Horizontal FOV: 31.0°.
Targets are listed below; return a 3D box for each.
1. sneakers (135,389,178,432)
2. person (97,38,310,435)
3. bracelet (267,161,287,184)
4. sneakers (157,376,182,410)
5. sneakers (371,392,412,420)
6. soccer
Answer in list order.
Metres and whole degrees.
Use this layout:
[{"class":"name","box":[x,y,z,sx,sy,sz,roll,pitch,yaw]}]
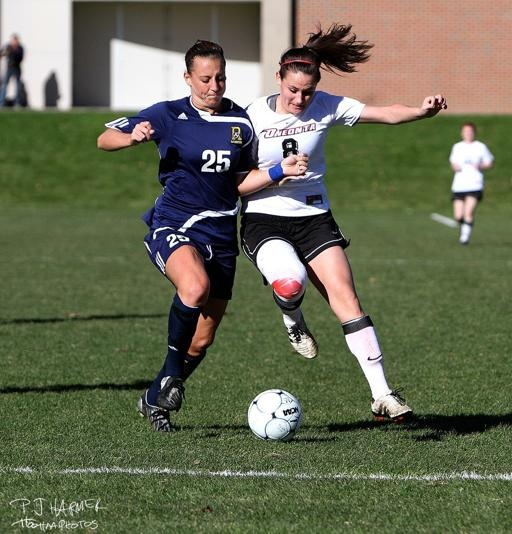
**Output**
[{"class":"sneakers","box":[-0.543,0.780,4.979,0.112,0.102,0.294,-9,41,-46]},{"class":"person","box":[-0.340,-0.141,4.915,0.808,2.098,0.778,-4,16,-35]},{"class":"bracelet","box":[0.104,-0.491,4.785,0.097,0.088,0.093,28,64,35]},{"class":"sneakers","box":[-0.440,0.650,4.747,0.102,0.124,0.190,39,-9,-19]},{"class":"sneakers","box":[0.688,0.699,4.638,0.100,0.116,0.253,-14,-1,-35]},{"class":"soccer","box":[0.094,0.795,4.851,0.284,0.242,0.252,-21,-17,-4]}]
